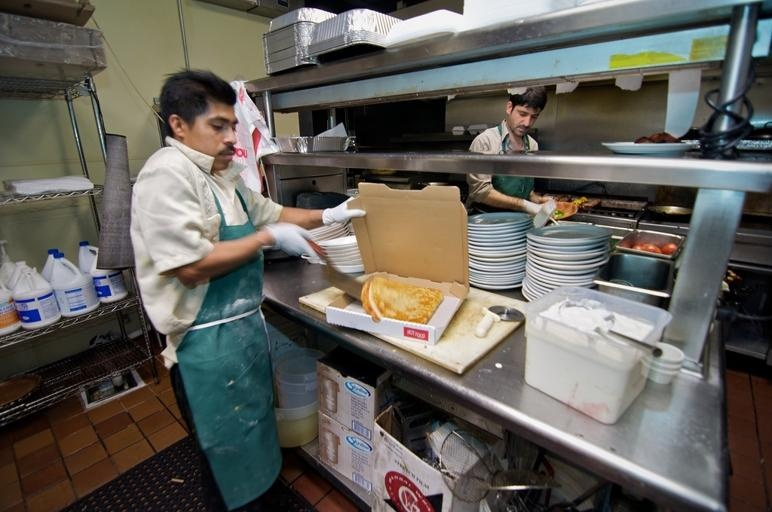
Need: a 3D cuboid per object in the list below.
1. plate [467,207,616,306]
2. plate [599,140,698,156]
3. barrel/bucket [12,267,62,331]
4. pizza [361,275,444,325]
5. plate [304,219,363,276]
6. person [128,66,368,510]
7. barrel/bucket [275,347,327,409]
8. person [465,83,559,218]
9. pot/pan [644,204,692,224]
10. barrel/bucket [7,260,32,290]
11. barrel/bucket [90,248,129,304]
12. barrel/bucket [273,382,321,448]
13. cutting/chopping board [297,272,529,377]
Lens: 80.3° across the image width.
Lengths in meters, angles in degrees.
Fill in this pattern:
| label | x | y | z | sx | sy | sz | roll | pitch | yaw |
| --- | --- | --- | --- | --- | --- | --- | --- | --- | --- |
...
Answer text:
| label | x | y | z | sx | sy | sz | roll | pitch | yaw |
| --- | --- | --- | --- | --- | --- | --- | --- | --- | --- |
| plate | 0.833 | -0.052 | 2.434 | 0.647 | 0.246 | 0.504 | -5 | 16 | -9 |
| plate | 1.154 | -0.489 | 2.031 | 0.374 | 0.053 | 0.154 | 0 | 18 | 4 |
| barrel/bucket | -2.502 | 0.271 | 3.230 | 0.251 | 0.429 | 0.261 | 1 | 18 | 0 |
| pizza | 0.080 | 0.218 | 2.321 | 0.285 | 0.077 | 0.298 | 10 | 26 | 22 |
| plate | -0.274 | -0.076 | 2.628 | 0.316 | 0.138 | 0.322 | -7 | 9 | -20 |
| person | -0.867 | 0.238 | 2.427 | 0.611 | 2.343 | 0.642 | 13 | 24 | 37 |
| barrel/bucket | -0.509 | 0.764 | 3.047 | 0.382 | 0.366 | 0.374 | -2 | 12 | 0 |
| person | 0.985 | -0.838 | 3.661 | 0.652 | 1.002 | 2.243 | 5 | 19 | 19 |
| pot/pan | 2.342 | -0.363 | 3.803 | 0.310 | 0.078 | 0.306 | -14 | 20 | -30 |
| barrel/bucket | -2.480 | 0.113 | 3.169 | 0.146 | 0.183 | 0.195 | 9 | -12 | -33 |
| barrel/bucket | -2.156 | 0.132 | 3.540 | 0.236 | 0.397 | 0.239 | -10 | 12 | 2 |
| barrel/bucket | -0.583 | 1.061 | 2.950 | 0.306 | 0.227 | 0.300 | -6 | -5 | 0 |
| cutting/chopping board | 0.389 | 0.357 | 2.342 | 0.711 | 0.176 | 0.420 | -16 | 23 | -39 |
